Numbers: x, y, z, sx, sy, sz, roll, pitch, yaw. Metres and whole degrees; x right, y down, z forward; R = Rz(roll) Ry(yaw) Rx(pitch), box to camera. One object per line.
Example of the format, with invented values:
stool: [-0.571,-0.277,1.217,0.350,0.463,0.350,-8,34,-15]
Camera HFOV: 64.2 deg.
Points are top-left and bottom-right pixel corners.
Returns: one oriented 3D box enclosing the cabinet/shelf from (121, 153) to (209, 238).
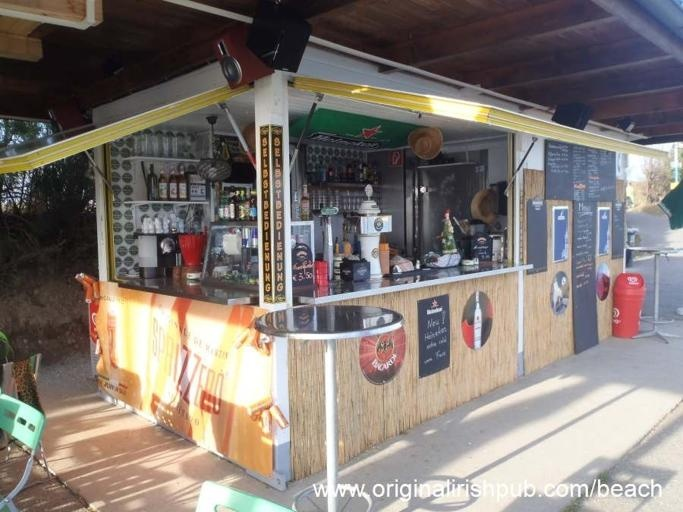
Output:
cabinet/shelf: [-2.048,-0.663,6.311,0.992,1.046,0.337,-1,-7,-14]

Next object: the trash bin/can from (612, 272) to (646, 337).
trash bin/can: [4.421,0.712,8.364,0.530,0.955,0.486,-4,5,-42]

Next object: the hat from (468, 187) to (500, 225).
hat: [2.086,-0.721,7.926,0.395,0.543,0.342,3,10,21]

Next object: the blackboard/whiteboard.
blackboard/whiteboard: [3.110,-0.113,7.375,0.097,3.044,2.795,1,2,41]

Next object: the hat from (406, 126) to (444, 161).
hat: [1.008,-1.404,6.706,0.460,0.371,0.195,7,12,39]

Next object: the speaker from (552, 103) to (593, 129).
speaker: [2.854,-1.742,6.777,0.446,0.327,0.285,3,10,24]
